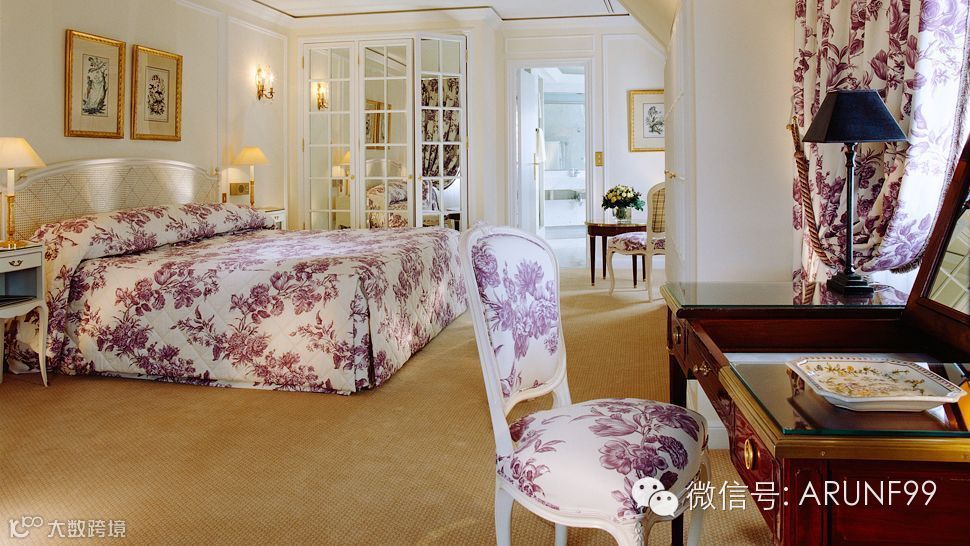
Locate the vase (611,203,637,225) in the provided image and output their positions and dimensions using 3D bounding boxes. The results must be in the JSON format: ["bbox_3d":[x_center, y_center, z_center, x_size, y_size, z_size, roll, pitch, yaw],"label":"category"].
[{"bbox_3d":[1.671,-0.667,7.379,0.335,0.341,0.306,-2,6,-3],"label":"vase"}]

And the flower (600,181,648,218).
[{"bbox_3d":[1.578,-0.832,7.316,0.485,0.336,0.480,0,6,10],"label":"flower"}]

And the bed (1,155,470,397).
[{"bbox_3d":[-1.811,0.115,4.850,2.306,1.106,2.277,1,8,7],"label":"bed"}]

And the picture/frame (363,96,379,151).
[{"bbox_3d":[-1.357,-1.737,7.491,0.208,0.453,0.031,7,8,27],"label":"picture/frame"}]

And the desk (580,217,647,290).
[{"bbox_3d":[1.422,-0.206,7.327,0.759,0.632,0.717,-1,8,-1],"label":"desk"}]

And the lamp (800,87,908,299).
[{"bbox_3d":[1.666,-0.372,2.875,0.398,0.891,0.349,-9,14,-28],"label":"lamp"}]

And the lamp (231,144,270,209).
[{"bbox_3d":[-2.508,-0.977,6.795,0.398,0.644,0.354,-5,-9,16],"label":"lamp"}]

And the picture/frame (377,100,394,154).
[{"bbox_3d":[-1.177,-1.709,7.491,0.020,0.542,0.314,-2,15,-25],"label":"picture/frame"}]

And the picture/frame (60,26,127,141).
[{"bbox_3d":[-3.306,-1.564,5.336,0.118,0.857,0.629,1,12,17],"label":"picture/frame"}]

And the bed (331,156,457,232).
[{"bbox_3d":[-0.992,-0.873,7.538,1.248,0.795,0.746,0,5,2],"label":"bed"}]
